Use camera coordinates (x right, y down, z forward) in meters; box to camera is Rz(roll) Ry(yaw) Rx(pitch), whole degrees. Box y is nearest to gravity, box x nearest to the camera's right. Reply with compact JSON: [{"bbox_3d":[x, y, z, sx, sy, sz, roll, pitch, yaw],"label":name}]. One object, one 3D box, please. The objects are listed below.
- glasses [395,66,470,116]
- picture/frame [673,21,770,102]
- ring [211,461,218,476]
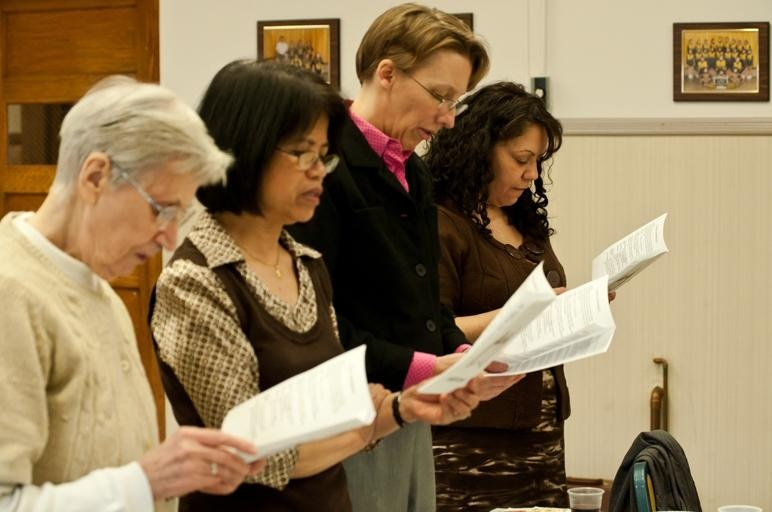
[{"bbox_3d":[0.154,-0.546,2.939,0.223,0.068,0.220,44,12,12],"label":"glasses"},{"bbox_3d":[2.024,-1.190,4.818,0.425,0.419,0.043,0,6,7],"label":"picture/frame"},{"bbox_3d":[-0.435,0.536,2.038,0.019,0.028,0.010,2,-4,-25],"label":"ring"}]
